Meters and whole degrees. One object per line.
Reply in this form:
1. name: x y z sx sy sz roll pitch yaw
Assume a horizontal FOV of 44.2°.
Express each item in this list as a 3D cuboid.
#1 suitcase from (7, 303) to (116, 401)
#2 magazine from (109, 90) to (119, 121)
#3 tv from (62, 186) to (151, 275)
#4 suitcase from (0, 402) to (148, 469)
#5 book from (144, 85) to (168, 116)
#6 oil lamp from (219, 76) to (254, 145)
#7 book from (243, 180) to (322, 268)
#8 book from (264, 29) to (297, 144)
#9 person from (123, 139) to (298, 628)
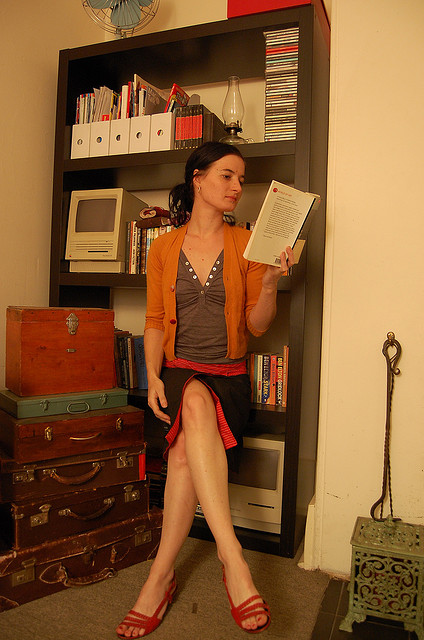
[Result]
1. suitcase: -0.486 0.085 1.673 0.226 0.350 0.393 -1 2 44
2. magazine: -0.399 -0.869 2.111 0.030 0.140 0.061 2 -3 -13
3. tv: -0.473 -0.343 2.195 0.281 0.330 0.300 2 -9 -21
4. suitcase: -0.397 0.321 1.538 0.438 0.142 0.172 3 -3 -37
5. book: -0.220 -0.851 2.068 0.027 0.134 0.157 0 -3 22
6. oil lamp: 0.075 -0.747 1.876 0.094 0.252 0.111 2 9 8
7. book: 0.178 -0.229 1.298 0.198 0.176 0.128 3 -3 -37
8. book: 0.231 -0.795 1.756 0.103 0.362 0.050 1 -3 13
9. person: -0.016 0.088 1.484 0.373 1.281 0.697 2 -3 -4
